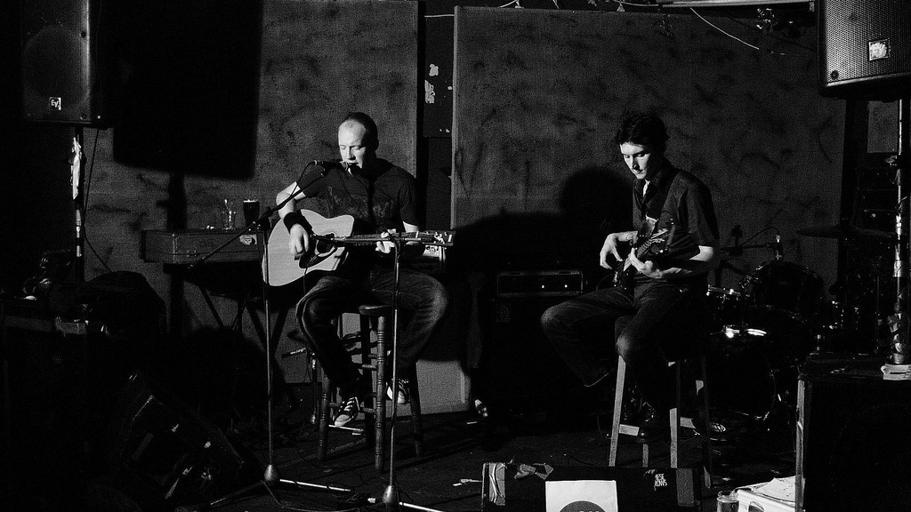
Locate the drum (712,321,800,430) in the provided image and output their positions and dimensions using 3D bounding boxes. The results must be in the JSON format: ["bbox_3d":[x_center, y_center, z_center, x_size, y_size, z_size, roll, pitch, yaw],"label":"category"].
[{"bbox_3d":[2.401,1.010,8.178,0.700,0.895,0.712,-1,-1,0],"label":"drum"}]

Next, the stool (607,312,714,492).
[{"bbox_3d":[1.728,1.265,7.893,0.821,1.055,0.767,0,-2,-18],"label":"stool"}]

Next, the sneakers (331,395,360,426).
[{"bbox_3d":[-0.886,1.236,8.029,0.146,0.158,0.400,29,-5,1],"label":"sneakers"}]

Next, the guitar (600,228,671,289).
[{"bbox_3d":[1.382,0.018,7.769,0.272,0.451,0.537,0,-1,-37],"label":"guitar"}]

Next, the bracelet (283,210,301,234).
[{"bbox_3d":[-1.312,-0.278,7.965,0.129,0.115,0.206,-26,13,-10],"label":"bracelet"}]

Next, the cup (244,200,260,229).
[{"bbox_3d":[-1.664,-0.345,8.101,0.113,0.213,0.401,-1,-1,-14],"label":"cup"}]

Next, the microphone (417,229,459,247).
[{"bbox_3d":[-0.160,-0.127,7.268,0.263,0.103,0.176,-1,-1,-2],"label":"microphone"}]

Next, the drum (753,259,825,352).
[{"bbox_3d":[2.866,0.377,8.688,0.694,0.666,0.695,8,-18,19],"label":"drum"}]
